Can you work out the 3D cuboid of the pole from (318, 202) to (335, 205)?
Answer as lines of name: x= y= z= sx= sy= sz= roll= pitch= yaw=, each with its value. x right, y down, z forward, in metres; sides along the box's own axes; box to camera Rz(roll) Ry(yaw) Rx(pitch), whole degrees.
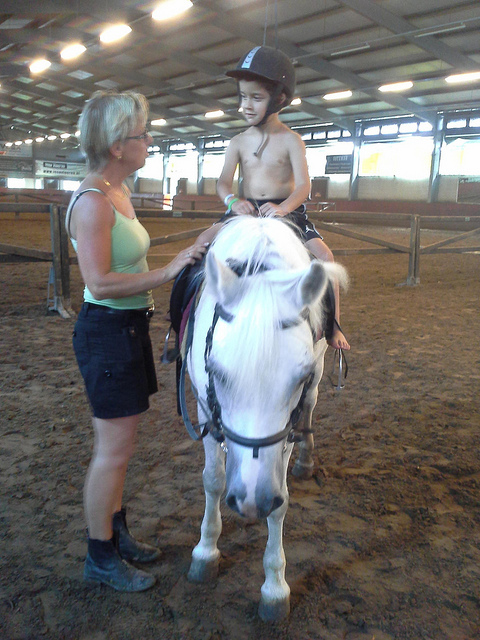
pole: x=3.556 y=-4.782 z=18.069 sx=0.581 sy=0.089 sz=0.787 roll=3 pitch=13 yaw=8

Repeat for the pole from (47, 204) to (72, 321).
pole: x=-1.837 y=-0.572 z=4.409 sx=0.159 sy=1.100 sz=0.387 roll=-9 pitch=17 yaw=-38

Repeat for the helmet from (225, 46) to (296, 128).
helmet: x=0.077 y=-0.891 z=1.645 sx=0.249 sy=0.302 sz=0.304 roll=2 pitch=13 yaw=4

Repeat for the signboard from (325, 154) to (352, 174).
signboard: x=4.261 y=-6.814 z=19.209 sx=1.249 sy=0.785 sz=0.104 roll=14 pitch=18 yaw=43
